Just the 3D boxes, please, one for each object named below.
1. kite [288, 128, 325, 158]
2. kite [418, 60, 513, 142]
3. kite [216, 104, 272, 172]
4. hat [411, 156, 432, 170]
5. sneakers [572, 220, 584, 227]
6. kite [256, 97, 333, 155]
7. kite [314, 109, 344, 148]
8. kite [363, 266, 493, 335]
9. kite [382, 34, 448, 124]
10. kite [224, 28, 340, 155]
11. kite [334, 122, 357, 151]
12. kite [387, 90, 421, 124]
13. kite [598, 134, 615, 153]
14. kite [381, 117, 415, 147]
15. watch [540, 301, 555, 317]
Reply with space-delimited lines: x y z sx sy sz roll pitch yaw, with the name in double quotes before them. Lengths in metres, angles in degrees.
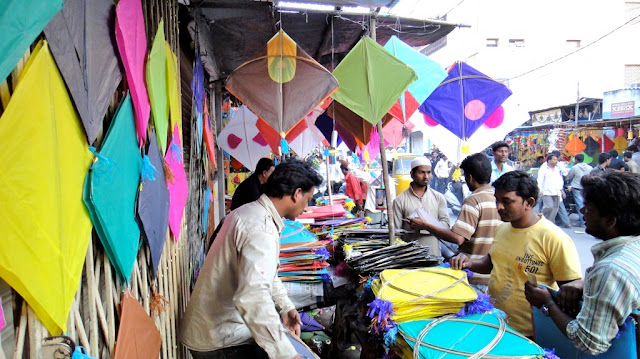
"kite" -0.221 -0.654 8.094 0.561 0.481 0.222 26 17 -38
"kite" 1.700 -0.889 5.602 0.905 0.907 0.526 37 10 9
"kite" -1.248 -0.662 7.341 0.960 0.945 0.371 1 12 2
"hat" 1.274 -0.209 5.877 0.172 0.102 0.170 -6 8 -44
"sneakers" 5.757 0.955 10.444 0.314 0.130 0.105 -7 1 -38
"kite" -0.493 -0.772 7.267 0.852 0.405 0.841 -30 6 18
"kite" 0.202 -0.923 8.528 0.544 0.245 1.014 23 -3 5
"kite" 0.848 0.934 3.893 0.608 0.225 0.600 -2 1 -4
"kite" 1.054 -1.046 5.183 1.094 0.764 0.290 14 3 19
"kite" -0.353 -1.272 6.976 1.404 0.640 1.399 -32 41 2
"kite" 0.467 -0.686 7.867 0.133 0.423 0.448 -34 43 -29
"kite" 0.953 -0.816 5.322 0.304 0.306 0.126 42 44 18
"kite" 9.208 -1.116 15.147 0.109 0.432 0.433 4 19 -16
"kite" 1.401 -0.705 7.946 0.504 0.199 0.550 -36 -30 -16
"watch" 1.752 0.984 3.648 0.108 0.109 0.071 3 -3 -12
